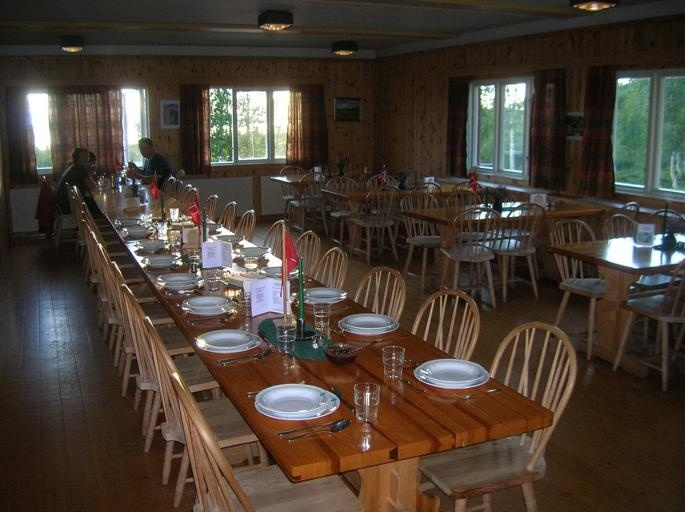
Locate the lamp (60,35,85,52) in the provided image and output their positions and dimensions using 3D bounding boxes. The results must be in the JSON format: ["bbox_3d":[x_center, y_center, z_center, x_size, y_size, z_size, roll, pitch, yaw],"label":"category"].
[{"bbox_3d":[-4.022,-3.263,7.729,0.296,0.215,0.244,-6,12,-13],"label":"lamp"}]

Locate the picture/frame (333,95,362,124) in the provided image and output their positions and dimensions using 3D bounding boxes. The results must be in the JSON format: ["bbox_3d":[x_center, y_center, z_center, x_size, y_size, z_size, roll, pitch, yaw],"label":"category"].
[{"bbox_3d":[0.050,-3.148,10.768,0.679,0.537,0.049,-2,16,-21],"label":"picture/frame"}]

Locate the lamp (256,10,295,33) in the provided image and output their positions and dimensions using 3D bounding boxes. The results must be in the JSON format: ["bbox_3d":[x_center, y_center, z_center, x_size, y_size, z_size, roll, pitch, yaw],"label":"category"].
[{"bbox_3d":[-0.851,-3.034,6.565,0.425,0.247,0.823,-3,12,-2],"label":"lamp"}]

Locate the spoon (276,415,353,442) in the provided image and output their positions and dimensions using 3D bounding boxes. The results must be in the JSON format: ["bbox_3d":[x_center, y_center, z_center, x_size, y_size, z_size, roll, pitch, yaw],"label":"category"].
[{"bbox_3d":[-0.087,0.634,1.932,0.317,0.049,0.081,-6,16,-21],"label":"spoon"}]

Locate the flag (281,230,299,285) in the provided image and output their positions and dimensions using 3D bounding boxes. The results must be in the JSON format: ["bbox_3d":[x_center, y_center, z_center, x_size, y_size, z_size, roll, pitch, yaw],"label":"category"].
[{"bbox_3d":[-0.274,-0.030,2.627,0.086,0.281,0.281,-4,12,-6],"label":"flag"}]
